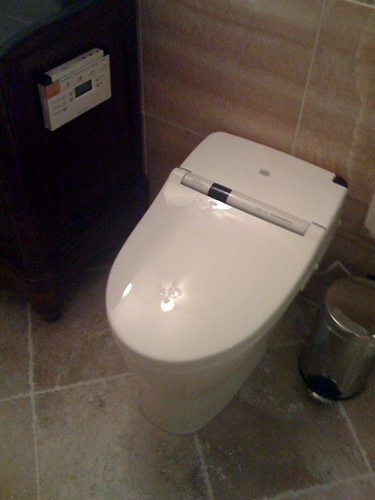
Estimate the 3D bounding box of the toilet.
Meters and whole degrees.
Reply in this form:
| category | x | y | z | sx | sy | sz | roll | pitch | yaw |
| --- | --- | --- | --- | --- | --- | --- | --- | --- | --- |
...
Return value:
| category | x | y | z | sx | sy | sz | roll | pitch | yaw |
| --- | --- | --- | --- | --- | --- | --- | --- | --- | --- |
| toilet | 0.049 | 0.127 | 0.971 | 0.340 | 0.544 | 0.508 | 24 | 45 | 20 |
